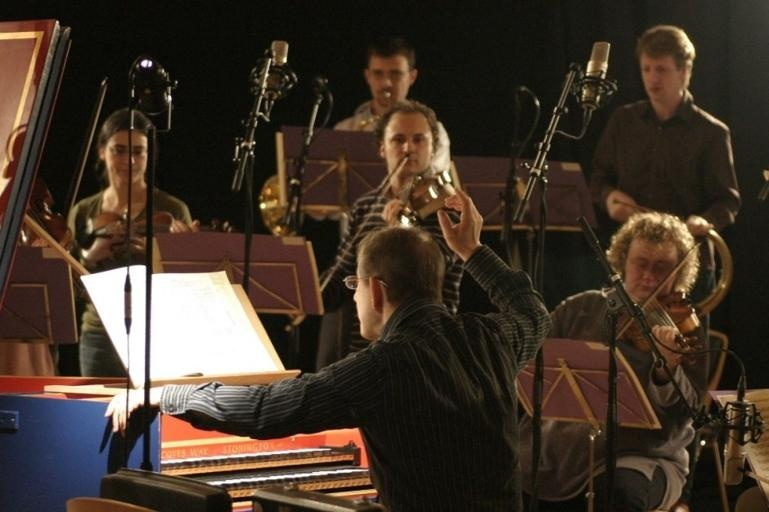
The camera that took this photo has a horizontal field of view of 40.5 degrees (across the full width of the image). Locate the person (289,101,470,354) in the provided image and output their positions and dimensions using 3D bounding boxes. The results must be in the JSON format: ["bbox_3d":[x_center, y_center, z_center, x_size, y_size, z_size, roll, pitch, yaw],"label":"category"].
[{"bbox_3d":[-0.007,-0.311,6.740,0.807,1.812,0.389,11,-38,11],"label":"person"}]

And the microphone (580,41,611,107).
[{"bbox_3d":[1.310,-1.127,6.482,0.151,0.364,0.140,3,1,9],"label":"microphone"}]

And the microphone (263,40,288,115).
[{"bbox_3d":[-0.676,-1.127,6.465,0.121,0.340,0.287,3,1,-7],"label":"microphone"}]

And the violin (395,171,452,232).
[{"bbox_3d":[0.244,-0.368,6.391,0.117,0.377,0.285,36,9,-49],"label":"violin"}]
